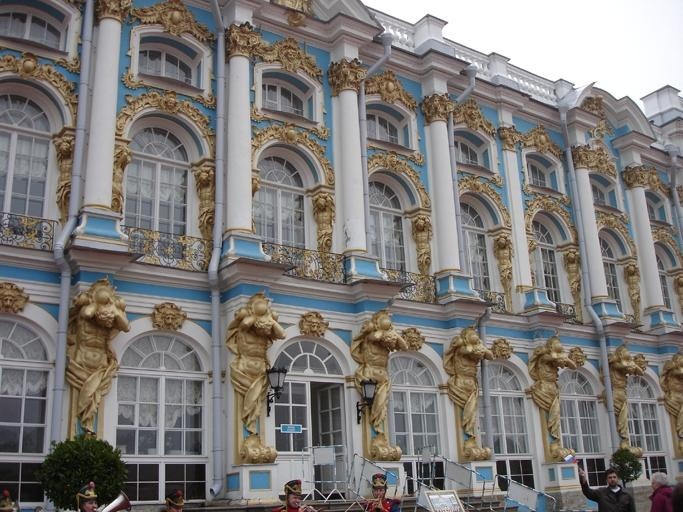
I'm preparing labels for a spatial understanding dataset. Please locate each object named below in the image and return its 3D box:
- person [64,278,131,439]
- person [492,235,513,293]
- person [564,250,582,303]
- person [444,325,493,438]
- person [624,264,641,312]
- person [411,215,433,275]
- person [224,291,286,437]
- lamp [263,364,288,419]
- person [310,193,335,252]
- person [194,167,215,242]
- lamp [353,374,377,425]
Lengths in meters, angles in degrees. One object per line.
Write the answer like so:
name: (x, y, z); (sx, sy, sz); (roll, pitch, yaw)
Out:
person: (-4.844, 1.935, 14.349); (1.104, 2.979, 0.795); (7, -23, -20)
person: (4.887, 0.245, 21.642); (0.550, 1.805, 0.404); (10, -24, -26)
person: (7.356, 0.630, 23.101); (0.491, 1.710, 0.413); (-5, -22, 10)
person: (3.227, 3.177, 18.797); (0.913, 2.816, 0.710); (10, -24, -25)
person: (9.885, 1.102, 24.657); (0.463, 1.833, 0.708); (-13, -25, 28)
person: (2.241, -0.331, 20.071); (0.540, 1.651, 0.420); (-2, -22, 1)
person: (-1.873, 2.257, 15.615); (1.051, 2.896, 0.731); (9, -24, -25)
lamp: (-1.416, 2.900, 15.779); (0.415, 0.994, 0.936); (1, -22, -5)
person: (-0.440, -0.877, 18.521); (0.583, 1.538, 0.366); (0, -22, -3)
person: (-3.188, -1.237, 17.076); (0.440, 1.892, 0.322); (0, -22, -2)
lamp: (0.592, 3.313, 16.984); (0.507, 1.015, 0.458); (-1, -22, 0)
